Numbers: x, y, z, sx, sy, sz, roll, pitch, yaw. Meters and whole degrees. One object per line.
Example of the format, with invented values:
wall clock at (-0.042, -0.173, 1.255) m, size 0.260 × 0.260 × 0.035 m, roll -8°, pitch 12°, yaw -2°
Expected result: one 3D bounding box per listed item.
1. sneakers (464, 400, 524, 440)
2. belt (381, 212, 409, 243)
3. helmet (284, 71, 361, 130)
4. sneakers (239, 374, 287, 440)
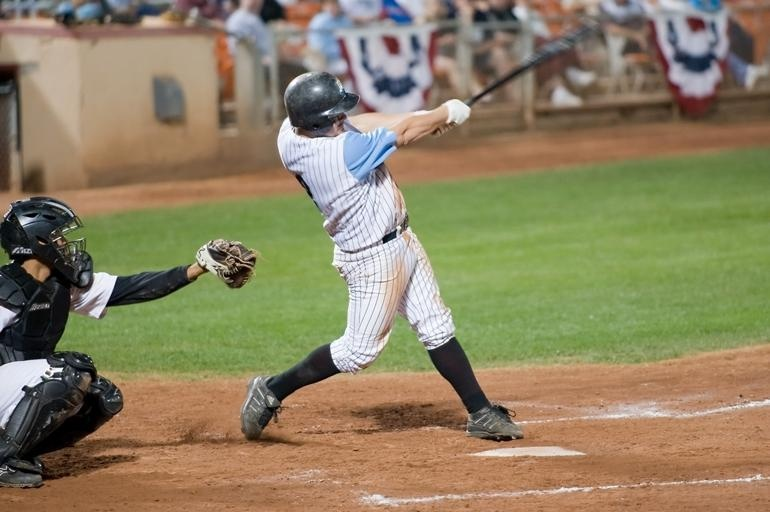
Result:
sneakers at (0.775, 1.145, 9.659) m, size 0.478 × 0.196 × 0.281 m, roll 6°, pitch 6°, yaw 39°
belt at (0.049, -0.187, 9.465) m, size 0.197 × 0.051 × 0.182 m, roll -36°, pitch 0°, yaw 4°
helmet at (-0.404, -1.101, 9.443) m, size 0.546 × 0.281 × 0.426 m, roll -26°, pitch 29°, yaw -22°
sneakers at (-0.849, 1.093, 9.831) m, size 0.290 × 0.500 × 0.189 m, roll 9°, pitch -5°, yaw 11°
